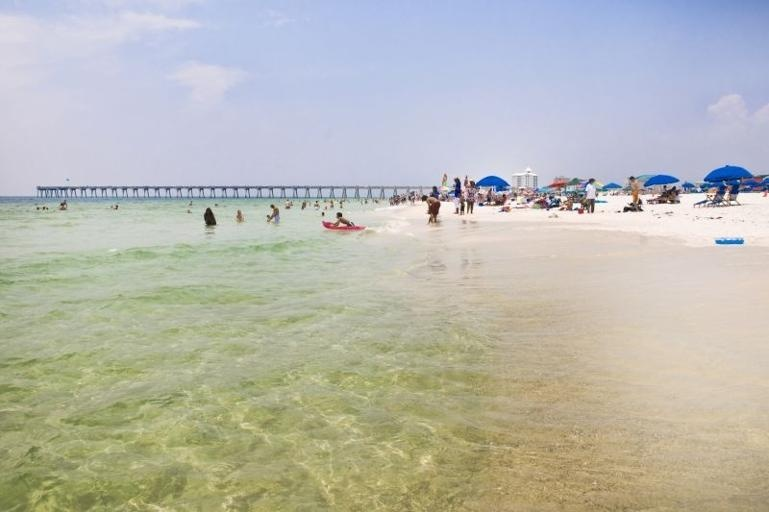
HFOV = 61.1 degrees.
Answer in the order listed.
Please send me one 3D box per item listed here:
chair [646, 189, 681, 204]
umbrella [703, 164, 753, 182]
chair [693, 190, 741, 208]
[{"bbox_3d":[14.685,-2.963,33.127,1.516,0.526,1.041,-3,5,-40],"label":"chair"},{"bbox_3d":[13.905,-3.282,26.330,1.450,0.629,1.660,3,9,24],"label":"umbrella"},{"bbox_3d":[13.865,-2.392,26.814,1.353,0.810,1.956,3,9,22],"label":"chair"}]
